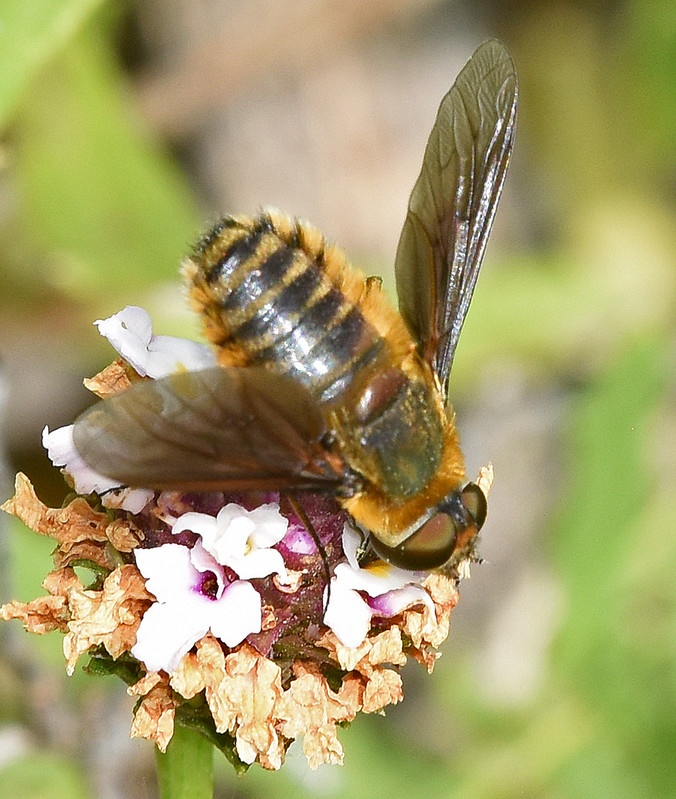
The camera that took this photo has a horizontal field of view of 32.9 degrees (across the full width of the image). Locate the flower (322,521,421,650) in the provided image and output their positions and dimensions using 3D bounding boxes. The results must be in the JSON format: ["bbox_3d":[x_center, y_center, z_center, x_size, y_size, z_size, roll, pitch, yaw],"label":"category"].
[{"bbox_3d":[0.032,0.245,1.521,0.200,0.059,0.121,-7,75,-41],"label":"flower"}]

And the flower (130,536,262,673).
[{"bbox_3d":[-0.196,0.261,1.443,0.164,0.048,0.162,42,60,6],"label":"flower"}]
